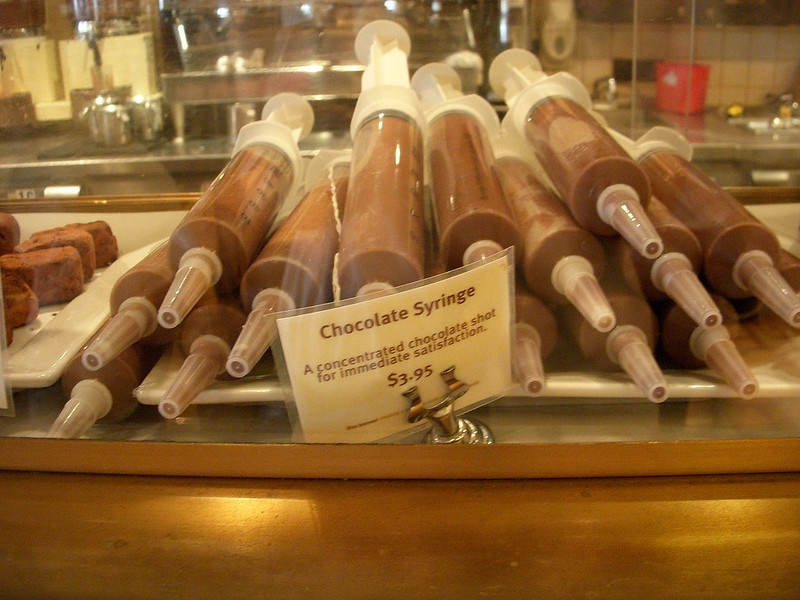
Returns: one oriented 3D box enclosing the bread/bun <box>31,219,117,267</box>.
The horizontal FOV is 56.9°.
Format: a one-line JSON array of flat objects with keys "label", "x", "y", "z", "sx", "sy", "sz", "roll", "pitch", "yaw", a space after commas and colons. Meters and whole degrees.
[{"label": "bread/bun", "x": -0.415, "y": -0.079, "z": 0.944, "sx": 0.076, "sy": 0.048, "sz": 0.070, "roll": -9, "pitch": 35, "yaw": -17}]
